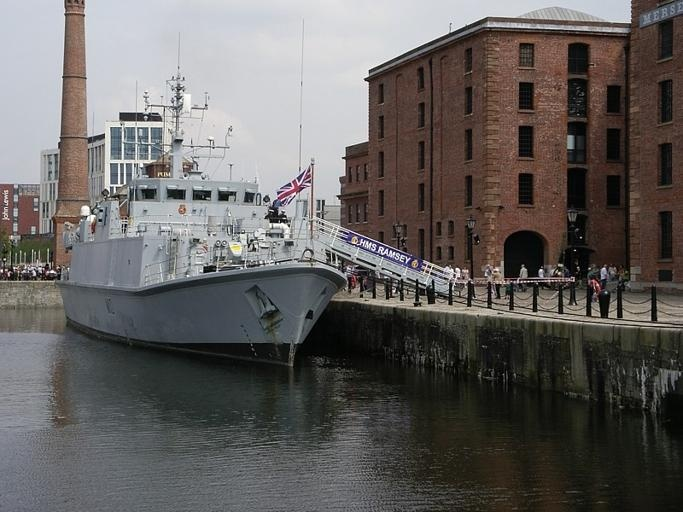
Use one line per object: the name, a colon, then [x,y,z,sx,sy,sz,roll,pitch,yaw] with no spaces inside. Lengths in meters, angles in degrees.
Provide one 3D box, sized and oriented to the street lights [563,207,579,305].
street lights: [9.912,0.001,47.201,0.708,4.247,0.687,0,1,-3]
